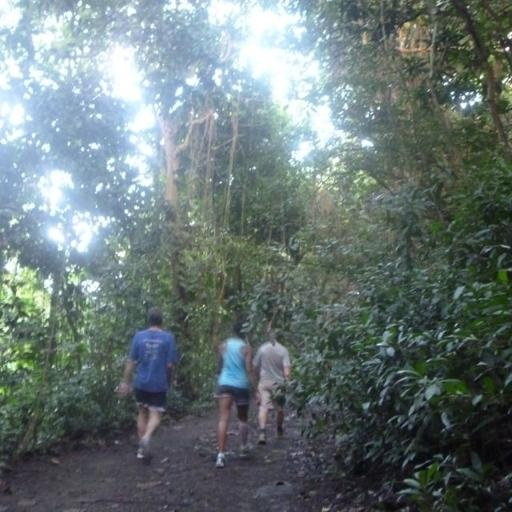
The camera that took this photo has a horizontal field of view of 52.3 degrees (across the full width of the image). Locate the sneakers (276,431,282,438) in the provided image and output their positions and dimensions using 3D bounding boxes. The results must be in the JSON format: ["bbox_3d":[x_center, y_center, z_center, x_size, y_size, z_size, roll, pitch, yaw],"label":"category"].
[{"bbox_3d":[0.338,2.580,7.545,0.070,0.138,0.081,0,1,2],"label":"sneakers"}]

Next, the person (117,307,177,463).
[{"bbox_3d":[-1.348,1.614,6.594,0.689,1.908,0.443,0,-5,-11],"label":"person"}]

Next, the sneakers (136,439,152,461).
[{"bbox_3d":[-1.402,2.444,6.508,0.115,0.289,0.412,3,-17,-4],"label":"sneakers"}]

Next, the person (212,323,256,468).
[{"bbox_3d":[-0.293,1.617,6.281,0.522,1.660,0.555,1,-6,-21],"label":"person"}]

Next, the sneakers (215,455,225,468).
[{"bbox_3d":[-0.412,2.332,5.965,0.110,0.163,0.217,-1,-8,-6],"label":"sneakers"}]
